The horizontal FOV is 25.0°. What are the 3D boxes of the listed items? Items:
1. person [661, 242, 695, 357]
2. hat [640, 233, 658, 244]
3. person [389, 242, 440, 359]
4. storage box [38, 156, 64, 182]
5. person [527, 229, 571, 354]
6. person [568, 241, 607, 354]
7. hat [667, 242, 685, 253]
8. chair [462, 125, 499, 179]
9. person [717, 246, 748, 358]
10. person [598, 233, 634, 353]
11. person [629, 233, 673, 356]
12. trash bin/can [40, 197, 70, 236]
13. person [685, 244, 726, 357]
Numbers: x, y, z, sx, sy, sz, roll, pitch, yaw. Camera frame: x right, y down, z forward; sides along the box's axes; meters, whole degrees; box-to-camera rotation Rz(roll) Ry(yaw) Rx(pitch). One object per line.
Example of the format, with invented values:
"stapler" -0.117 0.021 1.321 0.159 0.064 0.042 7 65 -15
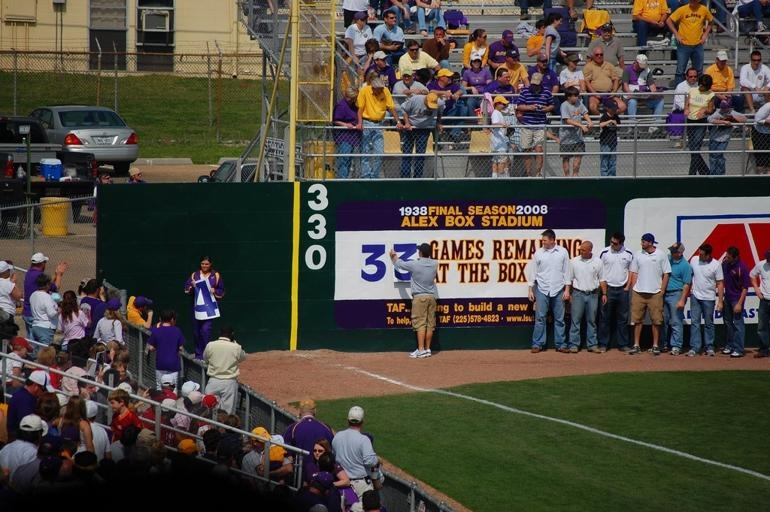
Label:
"person" 7.477 1.208 44.860 0.768 2.681 0.552 -2 -2 -9
"hat" 6.739 -0.367 44.615 0.319 0.190 0.240 12 13 -14
"person" 0.689 1.188 44.641 0.937 2.927 1.178 3 -2 -4
"storage box" -9.965 -2.400 51.367 0.557 0.547 0.671 0 1 -23
"person" 4.180 0.987 44.890 1.047 3.085 0.536 1 2 5
"person" 5.111 1.126 44.757 0.918 2.865 0.670 -1 -2 -4
"hat" 7.435 -0.123 44.633 0.338 0.181 0.224 -7 13 -10
"chair" 2.460 -2.565 45.349 0.605 1.317 0.597 1 -6 -5
"person" 8.919 1.262 44.394 0.699 2.759 0.636 3 3 33
"person" 5.904 1.030 44.975 0.870 2.982 0.566 -1 -2 0
"person" 6.789 1.079 44.992 0.961 2.999 1.045 0 0 6
"trash bin/can" -9.414 -0.901 50.077 1.189 1.367 1.204 0 5 -14
"person" 8.170 1.228 44.639 0.947 2.647 0.616 -6 -2 2
